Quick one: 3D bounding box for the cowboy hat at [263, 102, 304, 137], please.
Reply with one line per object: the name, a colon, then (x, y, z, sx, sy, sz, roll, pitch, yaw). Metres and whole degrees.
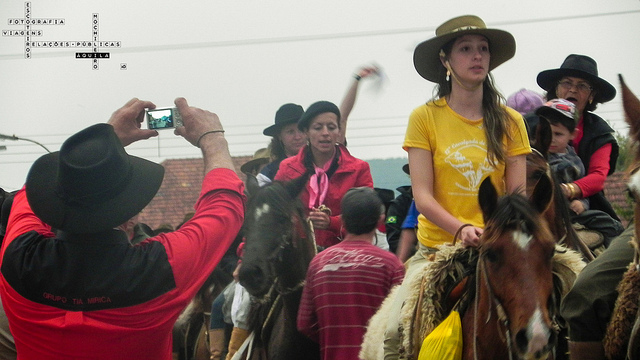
cowboy hat: (-0.364, -0.613, 8.847, 0.415, 0.311, 0.064, -4, -4, 12)

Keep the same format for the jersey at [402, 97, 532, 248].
jersey: (1.256, -0.068, 7.486, 1.395, 1.433, 0.778, 2, -4, -3)

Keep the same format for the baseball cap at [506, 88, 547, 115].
baseball cap: (2.007, -0.782, 8.818, 0.420, 0.252, 0.271, -7, 17, -13)
